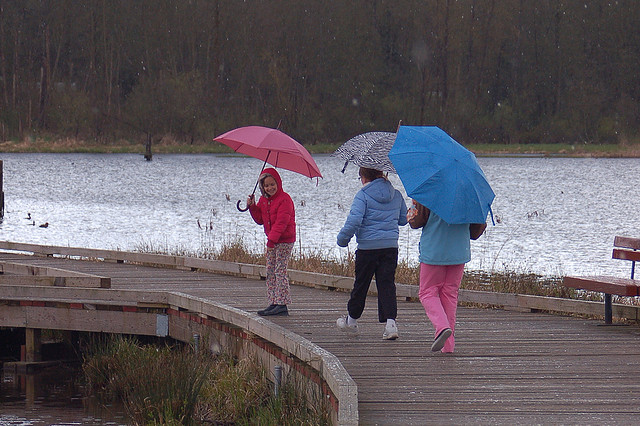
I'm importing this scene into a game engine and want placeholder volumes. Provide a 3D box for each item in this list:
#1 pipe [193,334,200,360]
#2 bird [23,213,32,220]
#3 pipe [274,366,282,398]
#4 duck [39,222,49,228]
[{"bbox_3d":[-18.540,19.458,230.013,0.864,3.214,0.994,2,4,-2],"label":"pipe"},{"bbox_3d":[-47.833,0.532,253.143,0.732,0.883,0.755,2,-11,2],"label":"bird"},{"bbox_3d":[-6.316,24.515,228.086,1.043,4.256,0.569,0,4,-18],"label":"pipe"},{"bbox_3d":[-44.885,1.957,250.759,1.105,0.861,0.650,-5,33,14],"label":"duck"}]
